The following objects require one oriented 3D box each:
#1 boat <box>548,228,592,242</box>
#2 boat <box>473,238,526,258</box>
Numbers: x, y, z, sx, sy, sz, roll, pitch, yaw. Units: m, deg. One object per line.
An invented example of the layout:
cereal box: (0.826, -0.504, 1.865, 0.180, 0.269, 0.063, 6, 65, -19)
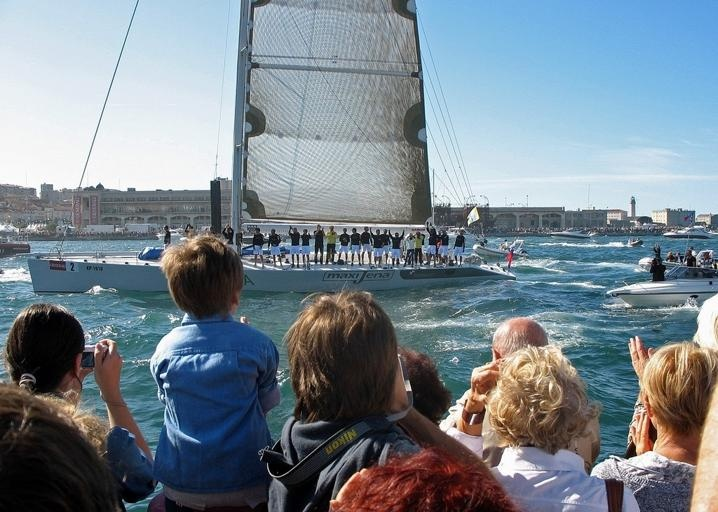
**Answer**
boat: (37.579, -3.691, 105.476, 6.755, 1.968, 2.160, 7, -2, -37)
boat: (12.792, -0.716, 54.133, 4.043, 1.764, 1.761, 0, 7, -7)
